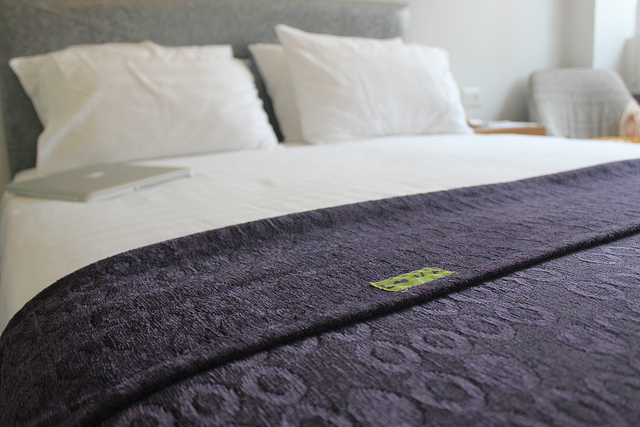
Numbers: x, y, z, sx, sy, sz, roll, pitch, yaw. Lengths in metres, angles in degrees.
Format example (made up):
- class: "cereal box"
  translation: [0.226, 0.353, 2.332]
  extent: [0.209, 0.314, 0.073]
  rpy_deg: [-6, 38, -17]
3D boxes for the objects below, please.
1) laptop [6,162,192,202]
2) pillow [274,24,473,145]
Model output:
- class: "laptop"
  translation: [-0.586, -0.082, 1.207]
  extent: [0.497, 0.033, 0.345]
  rpy_deg: [-3, 10, 19]
- class: "pillow"
  translation: [0.266, -0.549, 1.957]
  extent: [0.953, 0.455, 0.185]
  rpy_deg: [-10, 6, -31]
